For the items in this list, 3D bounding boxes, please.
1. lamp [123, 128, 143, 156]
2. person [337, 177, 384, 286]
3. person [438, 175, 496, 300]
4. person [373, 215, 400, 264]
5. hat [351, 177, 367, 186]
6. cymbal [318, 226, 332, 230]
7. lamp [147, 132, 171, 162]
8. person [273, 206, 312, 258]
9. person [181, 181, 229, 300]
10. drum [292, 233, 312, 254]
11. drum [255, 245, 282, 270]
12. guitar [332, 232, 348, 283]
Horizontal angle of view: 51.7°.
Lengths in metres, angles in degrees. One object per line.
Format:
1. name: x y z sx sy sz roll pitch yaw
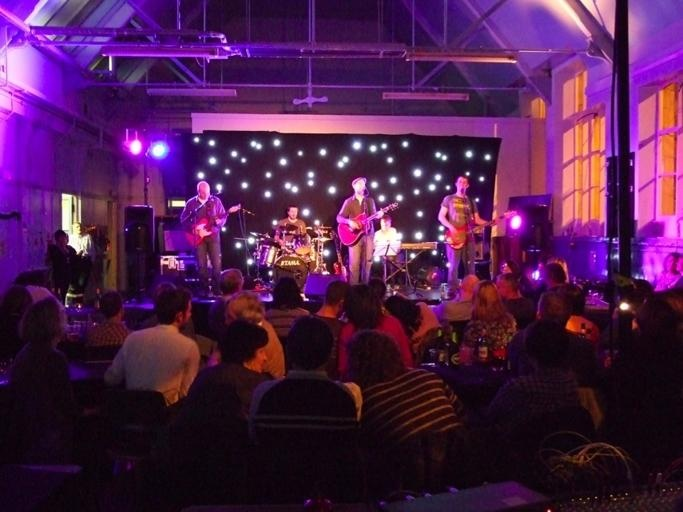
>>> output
1. lamp: -4.258 -2.291 14.388 0.257 0.452 0.706 8 12 -20
2. person: 0.274 -0.319 10.729 0.584 1.757 0.493 -2 18 1
3. person: 1.831 -0.264 10.662 0.686 1.861 0.488 -4 23 -3
4. person: 0.736 -0.254 12.303 0.457 0.338 0.878 1 13 -7
5. hat: 0.282 -1.211 11.491 0.210 0.075 0.272 -14 -2 11
6. cymbal: -0.299 -0.499 12.783 0.243 0.110 0.332 1 0 -3
7. lamp: -3.663 -2.229 14.221 0.449 0.612 1.046 1 0 -15
8. person: -0.806 -0.329 11.674 0.580 0.930 0.675 0 0 23
9. person: -2.048 -0.330 10.641 0.583 1.722 0.482 -12 -20 5
10. drum: -0.632 -0.165 11.431 0.237 0.323 0.285 -5 -31 -2
11. drum: -1.174 0.049 11.217 0.315 0.381 0.341 0 -9 34
12. guitar: -0.009 0.016 12.444 0.300 0.860 0.101 0 -14 -39
